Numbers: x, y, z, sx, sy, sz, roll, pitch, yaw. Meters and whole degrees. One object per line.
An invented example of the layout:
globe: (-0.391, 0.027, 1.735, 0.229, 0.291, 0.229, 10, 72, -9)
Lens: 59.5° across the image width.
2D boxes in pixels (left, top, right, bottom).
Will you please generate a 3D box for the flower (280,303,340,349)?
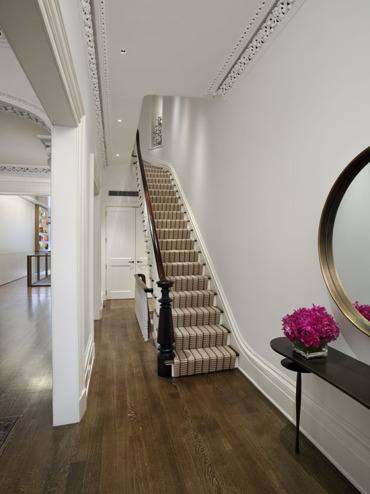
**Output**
flower: (0.710, 0.413, 1.816, 0.218, 0.210, 0.251, 1, -3, -18)

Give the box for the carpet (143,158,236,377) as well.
carpet: (-0.477, 0.046, 5.180, 0.603, 1.988, 4.546, -3, 22, -11)

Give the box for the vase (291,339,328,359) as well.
vase: (0.720, 0.576, 1.854, 0.095, 0.072, 0.103, -1, 0, -16)
